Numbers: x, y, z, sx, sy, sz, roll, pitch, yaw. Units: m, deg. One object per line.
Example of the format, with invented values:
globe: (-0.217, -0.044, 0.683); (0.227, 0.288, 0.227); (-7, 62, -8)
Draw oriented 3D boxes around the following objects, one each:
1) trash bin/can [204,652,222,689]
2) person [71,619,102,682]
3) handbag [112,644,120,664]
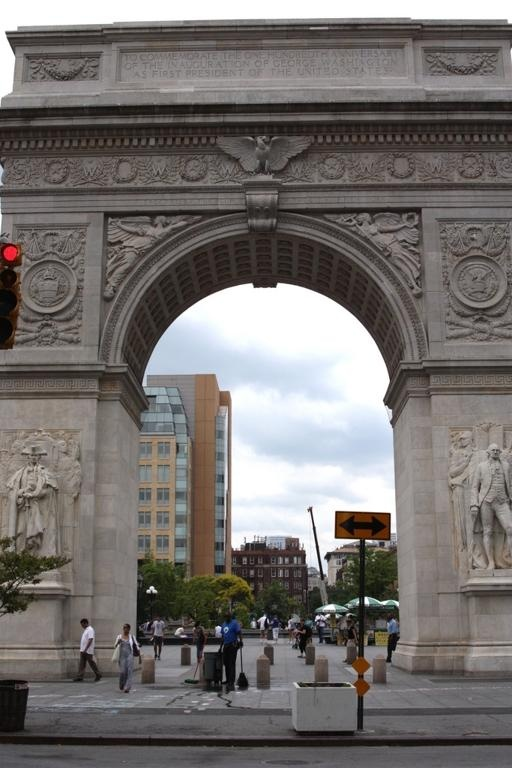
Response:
trash bin/can: (-1.005, 6.549, 22.433); (0.417, 0.822, 0.693); (1, -14, -3)
person: (-4.137, 6.588, 24.327); (0.657, 1.545, 1.985); (2, -15, -9)
handbag: (-3.107, 5.978, 21.814); (0.149, 0.343, 0.646); (2, -15, -8)
